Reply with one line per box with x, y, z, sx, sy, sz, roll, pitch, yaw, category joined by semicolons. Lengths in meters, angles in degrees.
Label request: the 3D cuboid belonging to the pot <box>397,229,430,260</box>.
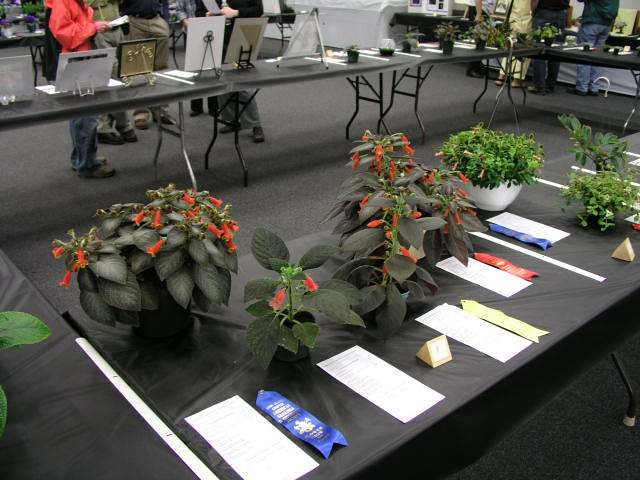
0.387;0.048;1.503;0.137;0.098;0.099;-13;41;8;pot

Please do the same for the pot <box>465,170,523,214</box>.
0.954;-0.245;2.120;0.296;0.149;0.282;-4;16;1;pot

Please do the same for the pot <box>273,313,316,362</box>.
-0.065;0.317;1.191;0.128;0.089;0.140;2;33;-1;pot

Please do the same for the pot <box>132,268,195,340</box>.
-0.478;0.226;1.269;0.217;0.208;0.200;4;40;-3;pot
